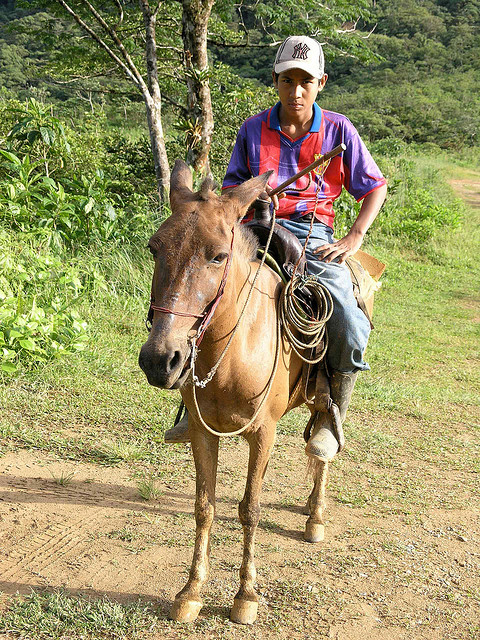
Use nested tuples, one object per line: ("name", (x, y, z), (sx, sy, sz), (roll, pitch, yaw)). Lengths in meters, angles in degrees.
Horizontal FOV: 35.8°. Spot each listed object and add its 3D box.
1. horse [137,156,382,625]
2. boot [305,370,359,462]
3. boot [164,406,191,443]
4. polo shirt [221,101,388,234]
("horse", (-0.014, 0.435, 4.371), (0.789, 2.611, 1.566), (13, 17, 25))
("boot", (0.607, 0.647, 4.997), (0.263, 0.586, 0.440), (7, 15, 9))
("boot", (-0.428, 0.711, 5.066), (0.167, 0.310, 0.460), (3, 14, -5))
("polo shirt", (0.452, -1.080, 5.170), (1.115, 0.830, 0.268), (4, 15, -2))
